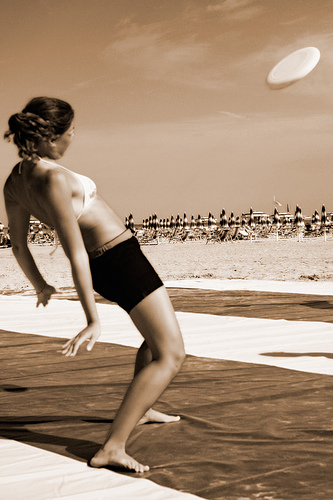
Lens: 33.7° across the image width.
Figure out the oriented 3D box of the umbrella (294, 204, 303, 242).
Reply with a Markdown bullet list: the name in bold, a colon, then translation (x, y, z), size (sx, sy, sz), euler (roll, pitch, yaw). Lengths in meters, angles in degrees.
- **umbrella**: translation (10.027, -2.522, 41.770), size (0.603, 1.626, 1.273), euler (-6, 7, 13)

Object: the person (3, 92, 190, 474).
- **person**: translation (-0.316, 0.122, 2.006), size (0.405, 1.334, 0.644), euler (-13, 9, -34)

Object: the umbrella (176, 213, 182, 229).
- **umbrella**: translation (0.910, -2.456, 47.374), size (0.439, 1.493, 0.727), euler (3, 15, 5)
